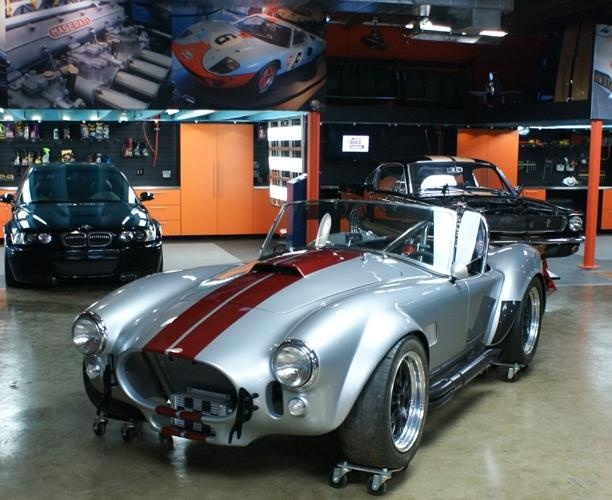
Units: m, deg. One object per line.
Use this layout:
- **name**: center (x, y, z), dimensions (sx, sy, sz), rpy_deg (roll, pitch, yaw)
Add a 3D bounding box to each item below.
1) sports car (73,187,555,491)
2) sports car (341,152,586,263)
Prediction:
- **sports car**: center (0.398, 0.324, 3.111), dimensions (1.480, 0.782, 2.536), rpy_deg (0, 2, 37)
- **sports car**: center (2.576, -0.681, 8.315), dimensions (1.955, 0.874, 3.105), rpy_deg (-3, 7, -29)
